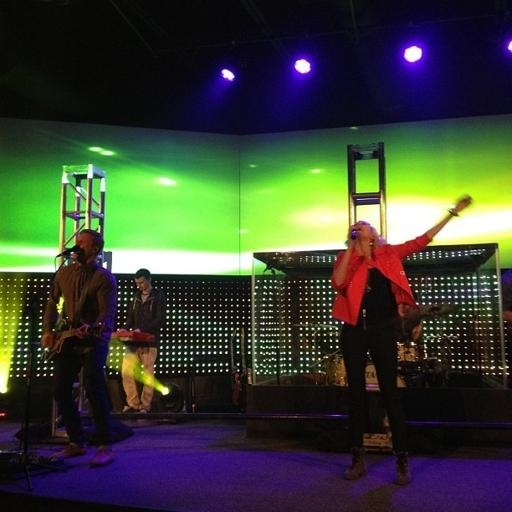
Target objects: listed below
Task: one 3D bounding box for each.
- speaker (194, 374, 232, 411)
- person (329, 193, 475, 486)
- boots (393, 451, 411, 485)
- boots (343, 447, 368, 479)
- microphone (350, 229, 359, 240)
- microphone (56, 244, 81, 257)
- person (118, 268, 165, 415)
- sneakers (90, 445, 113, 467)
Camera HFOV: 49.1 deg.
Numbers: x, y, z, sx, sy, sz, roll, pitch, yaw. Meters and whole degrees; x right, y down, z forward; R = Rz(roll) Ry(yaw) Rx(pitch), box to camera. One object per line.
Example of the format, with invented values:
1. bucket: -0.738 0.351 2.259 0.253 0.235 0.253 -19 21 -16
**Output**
1. speaker: -0.584 1.829 7.582 0.525 0.454 0.209 1 -9 -10
2. person: 0.790 0.596 3.769 0.553 1.732 0.223 -2 -9 15
3. boots: 0.924 1.350 3.564 0.090 0.187 0.101 -2 -9 14
4. boots: 0.649 1.366 3.711 0.106 0.192 0.183 -5 -10 28
5. microphone: 0.682 -0.153 3.911 0.061 0.061 0.111 3 16 13
6. microphone: -1.698 -0.053 5.066 0.233 0.070 0.068 -23 -6 -6
7. person: -1.399 1.003 6.879 0.518 1.725 1.462 1 -9 -9
8. sneakers: -1.119 1.444 4.051 0.120 0.119 0.189 0 -9 1
